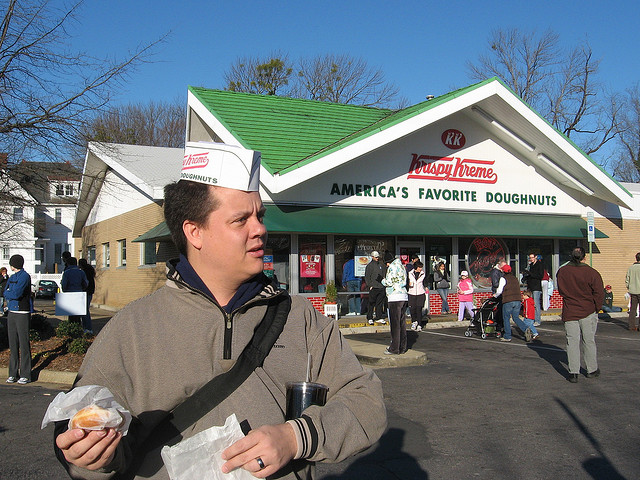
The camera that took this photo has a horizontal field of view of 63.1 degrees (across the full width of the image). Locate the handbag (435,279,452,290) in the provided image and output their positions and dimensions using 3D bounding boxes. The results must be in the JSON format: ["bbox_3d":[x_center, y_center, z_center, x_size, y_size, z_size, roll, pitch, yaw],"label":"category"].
[{"bbox_3d":[4.708,1.689,20.045,0.304,0.392,0.561,-5,0,7],"label":"handbag"}]

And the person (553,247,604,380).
[{"bbox_3d":[5.019,1.341,10.015,0.643,2.460,0.768,2,-5,6],"label":"person"}]

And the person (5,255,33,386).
[{"bbox_3d":[-5.726,1.655,9.913,0.605,2.162,0.461,-1,-3,25],"label":"person"}]

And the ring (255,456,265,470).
[{"bbox_3d":[-0.217,0.809,1.889,0.033,0.036,0.036,2,18,-26],"label":"ring"}]

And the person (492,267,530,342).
[{"bbox_3d":[5.335,1.784,14.576,0.848,2.043,0.974,-1,-2,19],"label":"person"}]

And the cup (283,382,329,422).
[{"bbox_3d":[-0.063,0.700,2.179,0.191,0.159,0.191,3,-32,2],"label":"cup"}]

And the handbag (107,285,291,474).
[{"bbox_3d":[-0.498,0.588,2.105,1.122,0.180,0.153,-37,-6,-33],"label":"handbag"}]

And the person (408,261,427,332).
[{"bbox_3d":[3.133,1.823,16.932,0.530,2.275,1.336,0,-2,10],"label":"person"}]
